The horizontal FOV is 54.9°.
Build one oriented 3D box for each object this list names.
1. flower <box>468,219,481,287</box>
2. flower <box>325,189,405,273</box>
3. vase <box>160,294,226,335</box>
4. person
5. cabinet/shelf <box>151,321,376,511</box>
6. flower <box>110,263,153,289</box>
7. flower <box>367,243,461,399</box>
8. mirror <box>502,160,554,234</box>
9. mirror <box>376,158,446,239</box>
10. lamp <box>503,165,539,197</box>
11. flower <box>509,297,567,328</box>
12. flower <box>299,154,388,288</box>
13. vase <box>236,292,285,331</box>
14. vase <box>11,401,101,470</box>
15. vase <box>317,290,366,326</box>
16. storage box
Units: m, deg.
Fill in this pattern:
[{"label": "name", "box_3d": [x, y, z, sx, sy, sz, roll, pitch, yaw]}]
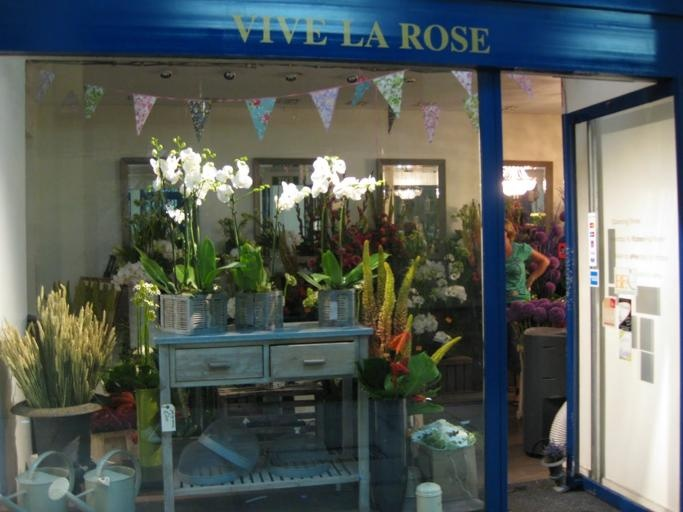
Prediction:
[{"label": "flower", "box_3d": [0.679, -0.019, 3.328, 0.060, 0.313, 0.013, 0, -1, 4]}, {"label": "flower", "box_3d": [0.100, -0.137, 3.276, 0.354, 0.528, 0.197, 0, 1, -3]}, {"label": "vase", "box_3d": [-0.696, 0.282, 3.137, 0.214, 0.154, 0.213, 2, -3, -38]}, {"label": "person", "box_3d": [1.147, 0.290, 4.054, 0.254, 1.028, 0.952, 0, 0, 14]}, {"label": "cabinet/shelf", "box_3d": [-0.420, 0.773, 3.184, 0.819, 0.891, 0.363, -1, 0, -11]}, {"label": "flower", "box_3d": [-1.006, 0.091, 3.150, 0.126, 0.089, 0.137, 1, 14, -3]}, {"label": "flower", "box_3d": [0.263, 0.311, 3.422, 0.534, 0.898, 0.485, -6, -16, 21]}, {"label": "mirror", "box_3d": [1.083, -0.366, 3.874, 0.360, 0.486, 0.032, -4, 11, -16]}, {"label": "mirror", "box_3d": [0.336, -0.287, 3.307, 0.344, 0.456, 0.020, 1, -6, -9]}, {"label": "lamp", "box_3d": [1.026, -0.443, 3.858, 0.286, 0.178, 0.131, 0, 0, -34]}, {"label": "flower", "box_3d": [1.223, 0.353, 4.112, 0.253, 0.189, 0.227, -1, -3, 3]}, {"label": "flower", "box_3d": [-0.026, -0.158, 3.272, 0.300, 0.657, 0.317, 10, -11, -22]}, {"label": "vase", "box_3d": [-0.386, 0.257, 3.257, 0.205, 0.192, 0.210, 1, 7, 36]}, {"label": "vase", "box_3d": [-1.407, 0.870, 3.230, 0.361, 0.321, 0.373, -19, -21, -22]}, {"label": "vase", "box_3d": [-0.027, 0.288, 3.282, 0.182, 0.201, 0.110, 1, -28, -6]}, {"label": "storage box", "box_3d": [0.538, 1.052, 3.418, 0.316, 0.379, 0.312, -8, 9, -19]}]
